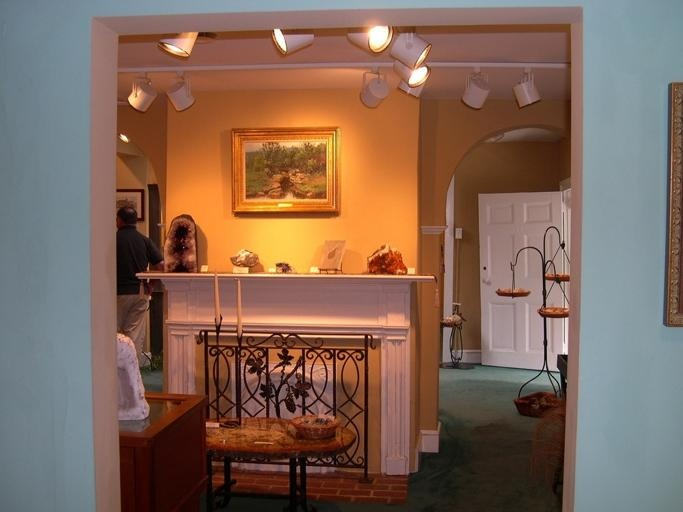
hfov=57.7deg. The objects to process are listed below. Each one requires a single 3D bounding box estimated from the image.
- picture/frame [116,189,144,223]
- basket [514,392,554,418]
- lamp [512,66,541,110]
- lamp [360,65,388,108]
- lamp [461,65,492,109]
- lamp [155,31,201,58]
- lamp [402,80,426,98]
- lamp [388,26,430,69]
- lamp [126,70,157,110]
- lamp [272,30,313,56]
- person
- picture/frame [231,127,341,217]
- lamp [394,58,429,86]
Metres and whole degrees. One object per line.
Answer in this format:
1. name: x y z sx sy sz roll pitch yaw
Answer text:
1. picture/frame: -2.527 -0.602 7.309 0.386 0.406 0.031 -1 -9 -20
2. basket: 1.754 1.347 5.596 0.356 0.210 0.457 -2 -2 16
3. lamp: 1.213 -1.110 4.076 0.160 0.242 0.138 -1 -2 -7
4. lamp: 0.219 -1.132 4.162 0.143 0.223 0.189 -3 -16 -2
5. lamp: 0.884 -1.049 4.015 0.125 0.220 0.220 12 -43 -5
6. lamp: -0.859 -1.111 3.318 0.191 0.105 0.292 -1 -2 3
7. lamp: 0.454 -1.081 4.019 0.134 0.092 0.136 5 -6 17
8. lamp: 0.390 -1.140 3.376 0.172 0.184 0.228 7 17 1
9. lamp: -1.362 -1.140 4.231 0.134 0.234 0.222 4 -49 -29
10. lamp: -0.250 -1.138 3.277 0.148 0.072 0.140 -17 -42 -3
11. person: -1.589 0.173 4.913 0.340 1.138 0.446 0 -2 -19
12. picture/frame: -0.372 -0.627 4.527 0.583 0.519 0.051 1 2 6
13. lamp: 0.420 -1.066 3.624 0.118 0.082 0.182 -26 37 -28
